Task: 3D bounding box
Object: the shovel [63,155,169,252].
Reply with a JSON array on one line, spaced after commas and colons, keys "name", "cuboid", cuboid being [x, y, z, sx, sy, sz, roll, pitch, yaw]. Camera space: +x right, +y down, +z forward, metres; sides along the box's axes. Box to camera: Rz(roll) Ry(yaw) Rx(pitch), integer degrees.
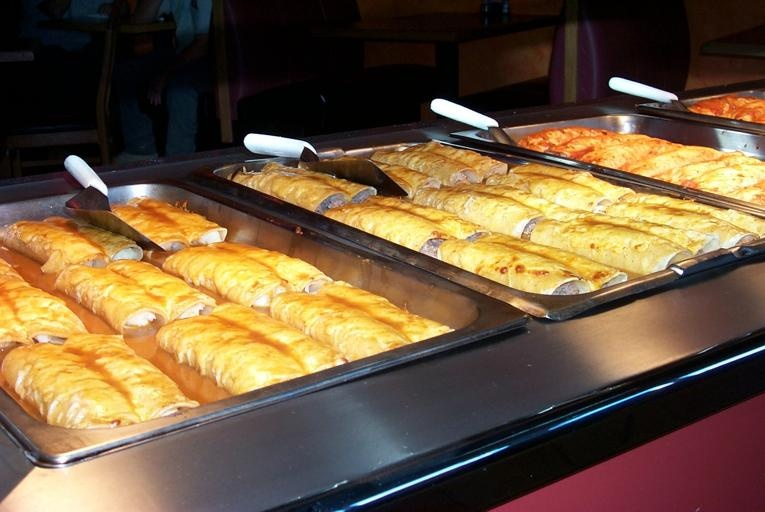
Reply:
[{"name": "shovel", "cuboid": [-0.623, -0.128, 1.200, 0.188, 0.053, 0.310, -18, 37, -41]}]
